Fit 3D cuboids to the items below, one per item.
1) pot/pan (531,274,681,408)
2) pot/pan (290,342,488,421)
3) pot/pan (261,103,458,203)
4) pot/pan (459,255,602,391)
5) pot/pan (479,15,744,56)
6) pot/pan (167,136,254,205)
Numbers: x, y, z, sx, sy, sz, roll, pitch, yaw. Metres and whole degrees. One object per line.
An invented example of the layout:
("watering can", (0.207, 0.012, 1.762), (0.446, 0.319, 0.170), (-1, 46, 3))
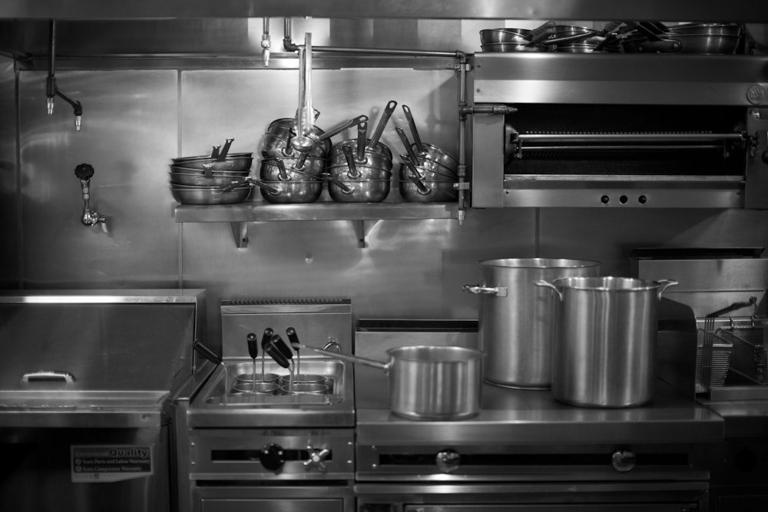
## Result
("pot/pan", (0.957, 0.368, 3.882), (0.614, 0.467, 0.425), (0, 6, 20))
("pot/pan", (0.107, 0.508, 3.735), (0.622, 0.221, 0.313), (0, -1, 2))
("pot/pan", (-0.067, -0.439, 4.071), (0.460, 0.271, 0.799), (2, 5, 41))
("pot/pan", (0.773, 0.322, 4.044), (0.738, 0.547, 0.480), (2, 2, 16))
("pot/pan", (1.068, -0.953, 4.040), (0.715, 0.081, 0.402), (0, 2, 4))
("pot/pan", (-0.750, -0.357, 4.018), (0.269, 0.217, 0.372), (0, 0, 5))
